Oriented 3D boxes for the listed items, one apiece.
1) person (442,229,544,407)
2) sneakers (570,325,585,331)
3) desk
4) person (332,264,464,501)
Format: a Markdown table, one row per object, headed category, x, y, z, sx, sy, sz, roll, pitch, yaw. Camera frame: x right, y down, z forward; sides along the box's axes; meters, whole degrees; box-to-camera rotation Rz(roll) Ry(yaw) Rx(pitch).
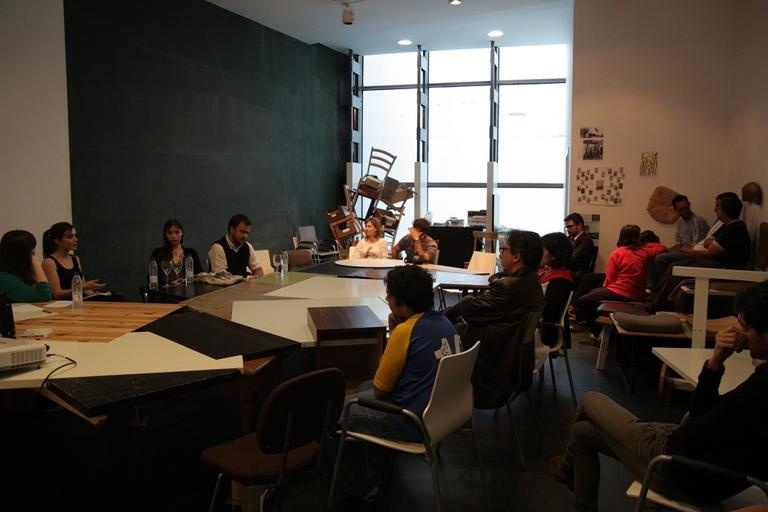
| category | x | y | z | sx | sy | sz | roll | pitch | yaw |
| --- | --- | --- | --- | --- | --- | --- | --- | --- | --- |
| person | 0.857 | 0.449 | 4.353 | 0.808 | 1.476 | 0.601 | 21 | 29 | 33 |
| sneakers | 2.488 | 0.906 | 7.000 | 0.257 | 0.108 | 0.102 | 2 | -4 | -38 |
| desk | -1.613 | 0.754 | 3.982 | 2.047 | 0.516 | 1.013 | 6 | 14 | 19 |
| person | 0.084 | 0.878 | 3.485 | 0.737 | 1.599 | 0.509 | 3 | 12 | 8 |
